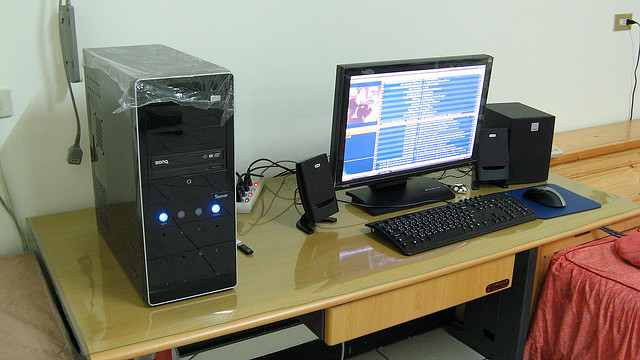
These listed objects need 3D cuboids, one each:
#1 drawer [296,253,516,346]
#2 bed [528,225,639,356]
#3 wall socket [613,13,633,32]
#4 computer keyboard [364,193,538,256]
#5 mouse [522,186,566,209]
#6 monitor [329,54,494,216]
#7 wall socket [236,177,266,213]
[{"bbox_3d":[0.365,0.495,1.888,0.655,0.118,0.528,-11,13,-22],"label":"drawer"},{"bbox_3d":[1.355,0.638,2.316,0.449,0.537,0.355,12,22,32],"label":"bed"},{"bbox_3d":[2.062,-1.093,3.192,0.173,0.096,0.026,-9,22,-19],"label":"wall socket"},{"bbox_3d":[0.602,0.185,2.076,0.695,0.076,0.254,-12,30,-22],"label":"computer keyboard"},{"bbox_3d":[1.103,0.069,2.284,0.132,0.069,0.219,-13,18,-18],"label":"mouse"},{"bbox_3d":[0.429,-0.237,2.271,0.994,0.670,0.337,-13,26,-34],"label":"monitor"},{"bbox_3d":[-0.339,0.067,2.240,0.090,0.024,0.218,2,41,13],"label":"wall socket"}]
